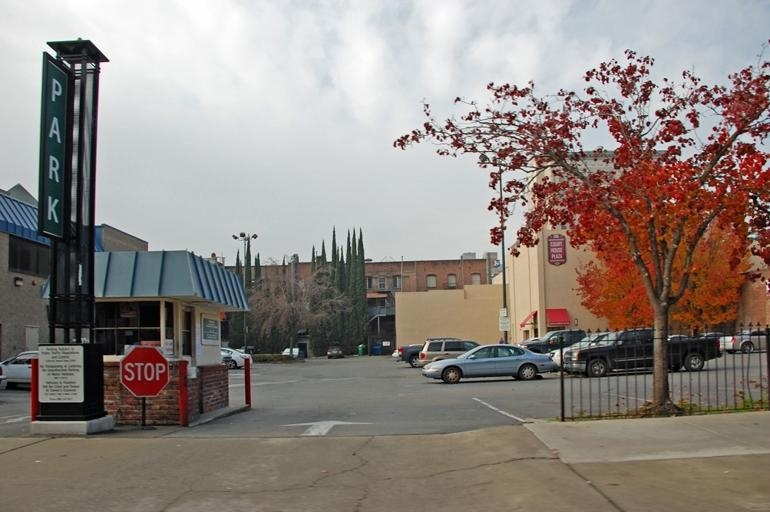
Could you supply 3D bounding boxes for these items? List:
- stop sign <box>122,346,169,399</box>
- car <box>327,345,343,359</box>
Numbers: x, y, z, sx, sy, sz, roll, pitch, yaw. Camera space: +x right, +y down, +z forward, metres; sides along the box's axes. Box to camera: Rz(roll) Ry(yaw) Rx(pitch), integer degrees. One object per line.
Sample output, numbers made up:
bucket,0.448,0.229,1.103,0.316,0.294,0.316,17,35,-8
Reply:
stop sign,-6.175,2.954,20.435,1.284,1.375,0.217,-1,-3,3
car,-4.832,9.148,76.423,1.396,1.273,2.532,-1,-11,-7
